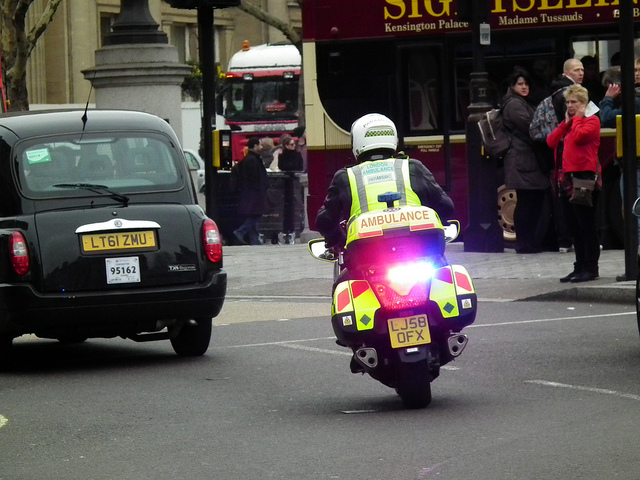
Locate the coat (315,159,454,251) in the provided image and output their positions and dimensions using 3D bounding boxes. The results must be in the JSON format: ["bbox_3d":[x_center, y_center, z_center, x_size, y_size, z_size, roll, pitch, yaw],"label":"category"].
[{"bbox_3d":[0.330,-0.254,5.598,0.525,0.507,0.857,-3,1,-8],"label":"coat"}]

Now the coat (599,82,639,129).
[{"bbox_3d":[4.027,-1.763,10.761,0.495,0.767,0.250,-3,3,-5],"label":"coat"}]

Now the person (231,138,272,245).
[{"bbox_3d":[-1.765,-1.191,19.769,0.940,2.651,0.830,-3,3,5],"label":"person"}]

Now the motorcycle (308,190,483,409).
[{"bbox_3d":[0.569,0.329,5.832,0.724,1.067,1.789,-10,-1,-3],"label":"motorcycle"}]

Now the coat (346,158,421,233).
[{"bbox_3d":[0.399,-0.292,5.252,0.524,0.429,0.734,-2,2,-9],"label":"coat"}]

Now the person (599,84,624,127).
[{"bbox_3d":[3.990,-1.834,10.914,0.265,0.559,0.784,-2,4,21],"label":"person"}]

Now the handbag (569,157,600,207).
[{"bbox_3d":[3.476,-0.872,10.467,0.351,0.878,0.118,8,-18,13],"label":"handbag"}]

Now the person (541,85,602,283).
[{"bbox_3d":[3.443,-0.732,10.587,0.691,2.556,0.564,0,4,44],"label":"person"}]
